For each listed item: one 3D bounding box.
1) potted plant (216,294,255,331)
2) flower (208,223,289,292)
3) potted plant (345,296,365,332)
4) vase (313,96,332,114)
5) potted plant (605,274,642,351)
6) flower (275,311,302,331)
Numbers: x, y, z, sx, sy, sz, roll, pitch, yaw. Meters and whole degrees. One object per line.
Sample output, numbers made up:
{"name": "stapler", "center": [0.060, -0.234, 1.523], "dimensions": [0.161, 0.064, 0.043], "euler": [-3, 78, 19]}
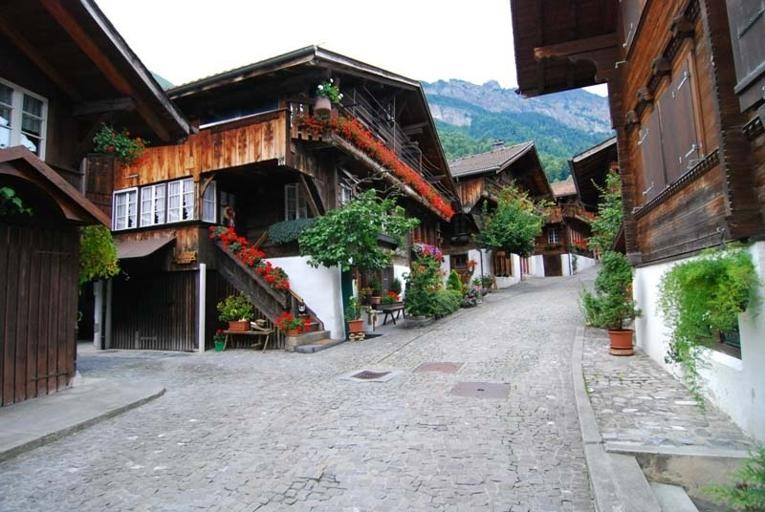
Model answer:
{"name": "potted plant", "center": [-4.448, 1.714, 16.104], "dimensions": [1.276, 1.320, 0.964], "euler": [0, -11, -4]}
{"name": "flower", "center": [-4.120, 0.145, 16.379], "dimensions": [0.629, 2.707, 0.511], "euler": [-23, -36, -53]}
{"name": "potted plant", "center": [-0.866, 1.862, 16.577], "dimensions": [0.650, 1.108, 0.632], "euler": [-1, -5, -39]}
{"name": "vase", "center": [-1.735, -4.342, 15.478], "dimensions": [0.437, 0.348, 0.438], "euler": [-3, -3, 43]}
{"name": "potted plant", "center": [5.470, 1.387, 12.183], "dimensions": [0.612, 1.738, 0.684], "euler": [-4, -6, 40]}
{"name": "flower", "center": [-2.627, 1.841, 15.209], "dimensions": [0.564, 0.443, 0.603], "euler": [-1, -3, 0]}
